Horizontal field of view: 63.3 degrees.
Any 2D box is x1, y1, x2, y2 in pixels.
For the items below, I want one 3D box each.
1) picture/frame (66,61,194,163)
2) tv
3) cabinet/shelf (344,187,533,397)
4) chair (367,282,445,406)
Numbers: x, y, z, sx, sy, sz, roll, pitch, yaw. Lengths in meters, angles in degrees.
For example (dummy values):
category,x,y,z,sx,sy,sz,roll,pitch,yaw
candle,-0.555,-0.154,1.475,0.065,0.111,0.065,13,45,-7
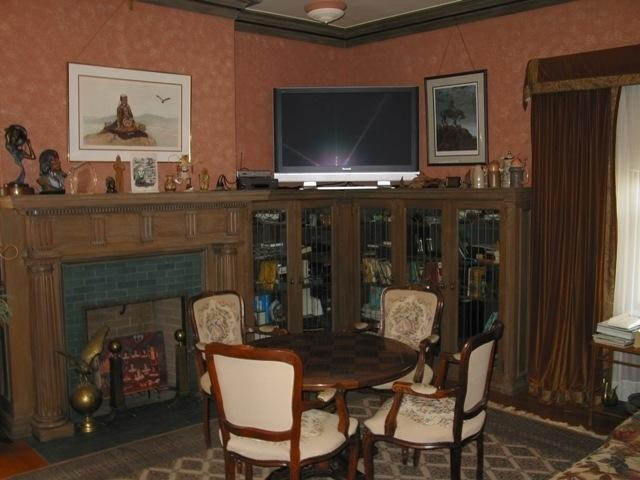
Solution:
category,x,y,z,sx,sy,sz,roll,pitch,yaw
picture/frame,-1.893,-1.251,5.034,1.013,0.761,0.021,-6,10,-36
tv,0.307,-1.243,6.094,1.160,0.881,0.095,0,3,-1
cabinet/shelf,1.249,0.476,5.084,1.989,1.981,0.539,2,4,41
chair,0.729,0.838,4.507,0.768,1.227,0.730,0,-1,31
